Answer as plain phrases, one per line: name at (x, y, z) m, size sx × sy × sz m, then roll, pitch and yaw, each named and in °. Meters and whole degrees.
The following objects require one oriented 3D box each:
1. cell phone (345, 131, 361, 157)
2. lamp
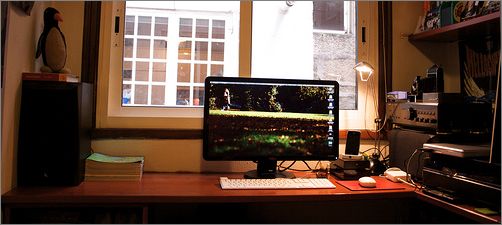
cell phone at (1.071, 0.311, 3.679) m, size 0.147 × 0.248 × 0.069 m, roll 1°, pitch 2°, yaw 8°
lamp at (1.311, -0.079, 3.941) m, size 0.314 × 1.018 × 0.255 m, roll 2°, pitch 2°, yaw 15°
